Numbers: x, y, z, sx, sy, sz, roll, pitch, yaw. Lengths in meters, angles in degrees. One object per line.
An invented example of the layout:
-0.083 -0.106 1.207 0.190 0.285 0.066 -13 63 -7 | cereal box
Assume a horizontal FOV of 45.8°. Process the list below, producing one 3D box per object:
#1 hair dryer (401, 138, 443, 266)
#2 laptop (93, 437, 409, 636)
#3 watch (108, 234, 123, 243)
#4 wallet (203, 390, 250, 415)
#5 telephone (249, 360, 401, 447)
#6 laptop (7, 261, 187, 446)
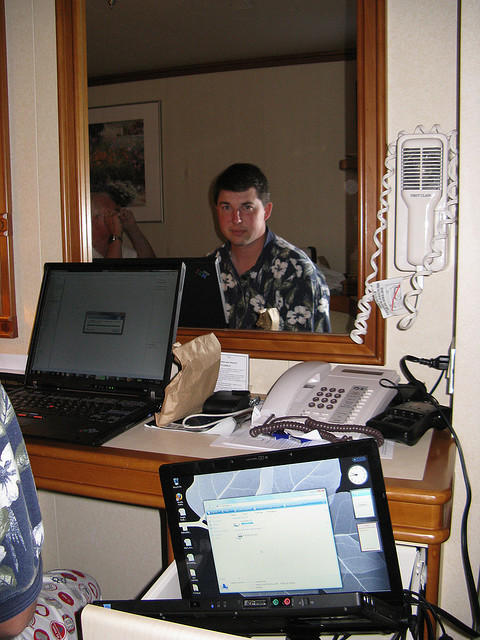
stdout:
0.364 -0.237 1.135 0.077 0.253 0.022 0 9 18 | hair dryer
0.023 0.251 0.651 0.355 0.229 0.254 -9 -17 25 | laptop
-0.377 -0.249 1.718 0.033 0.021 0.031 1 -9 -23 | watch
-0.027 0.174 1.186 0.085 0.026 0.123 1 9 22 | wallet
0.167 0.148 1.074 0.253 0.097 0.306 2 10 27 | telephone
-0.307 0.028 1.256 0.433 0.302 0.363 3 14 21 | laptop
